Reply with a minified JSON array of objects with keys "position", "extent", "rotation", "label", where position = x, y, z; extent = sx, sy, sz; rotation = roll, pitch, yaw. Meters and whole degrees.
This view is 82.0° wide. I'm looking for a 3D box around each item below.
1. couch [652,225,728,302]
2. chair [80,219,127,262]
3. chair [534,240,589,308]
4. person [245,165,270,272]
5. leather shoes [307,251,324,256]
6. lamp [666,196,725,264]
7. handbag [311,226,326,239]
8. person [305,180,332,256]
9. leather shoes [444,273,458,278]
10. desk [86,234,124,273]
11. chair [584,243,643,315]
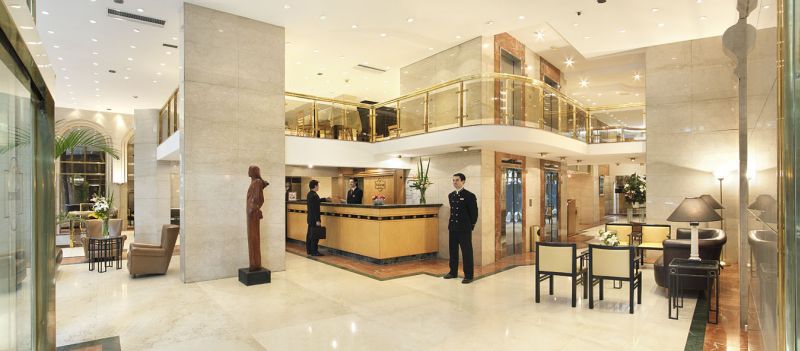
[{"position":[9.403,2.896,15.552],"extent":[2.707,1.840,2.770],"rotation":[-1,-2,26],"label":"couch"},{"position":[-11.302,2.399,17.581],"extent":[1.445,1.205,1.340],"rotation":[1,6,-34],"label":"chair"},{"position":[5.117,3.090,14.718],"extent":[1.407,1.942,1.400],"rotation":[-1,-3,33],"label":"chair"},{"position":[-4.889,1.432,15.662],"extent":[0.620,3.555,0.348],"rotation":[2,-3,-15],"label":"person"},{"position":[-3.339,3.107,18.427],"extent":[0.704,0.190,0.201],"rotation":[-1,-4,-1],"label":"leather shoes"},{"position":[8.935,1.612,14.126],"extent":[1.254,1.918,1.164],"rotation":[0,-3,23],"label":"lamp"},{"position":[-3.230,2.226,18.131],"extent":[0.696,0.438,0.320],"rotation":[2,-5,-19],"label":"handbag"},{"position":[-3.317,1.681,18.522],"extent":[0.845,3.026,0.930],"rotation":[1,-3,-9],"label":"person"},{"position":[1.763,3.492,16.001],"extent":[0.472,0.127,0.164],"rotation":[2,-9,-2],"label":"leather shoes"},{"position":[-10.884,2.927,17.042],"extent":[1.032,0.836,1.062],"rotation":[0,-6,-43],"label":"desk"},{"position":[6.700,3.153,14.396],"extent":[1.523,2.050,1.221],"rotation":[0,-3,20],"label":"chair"}]
